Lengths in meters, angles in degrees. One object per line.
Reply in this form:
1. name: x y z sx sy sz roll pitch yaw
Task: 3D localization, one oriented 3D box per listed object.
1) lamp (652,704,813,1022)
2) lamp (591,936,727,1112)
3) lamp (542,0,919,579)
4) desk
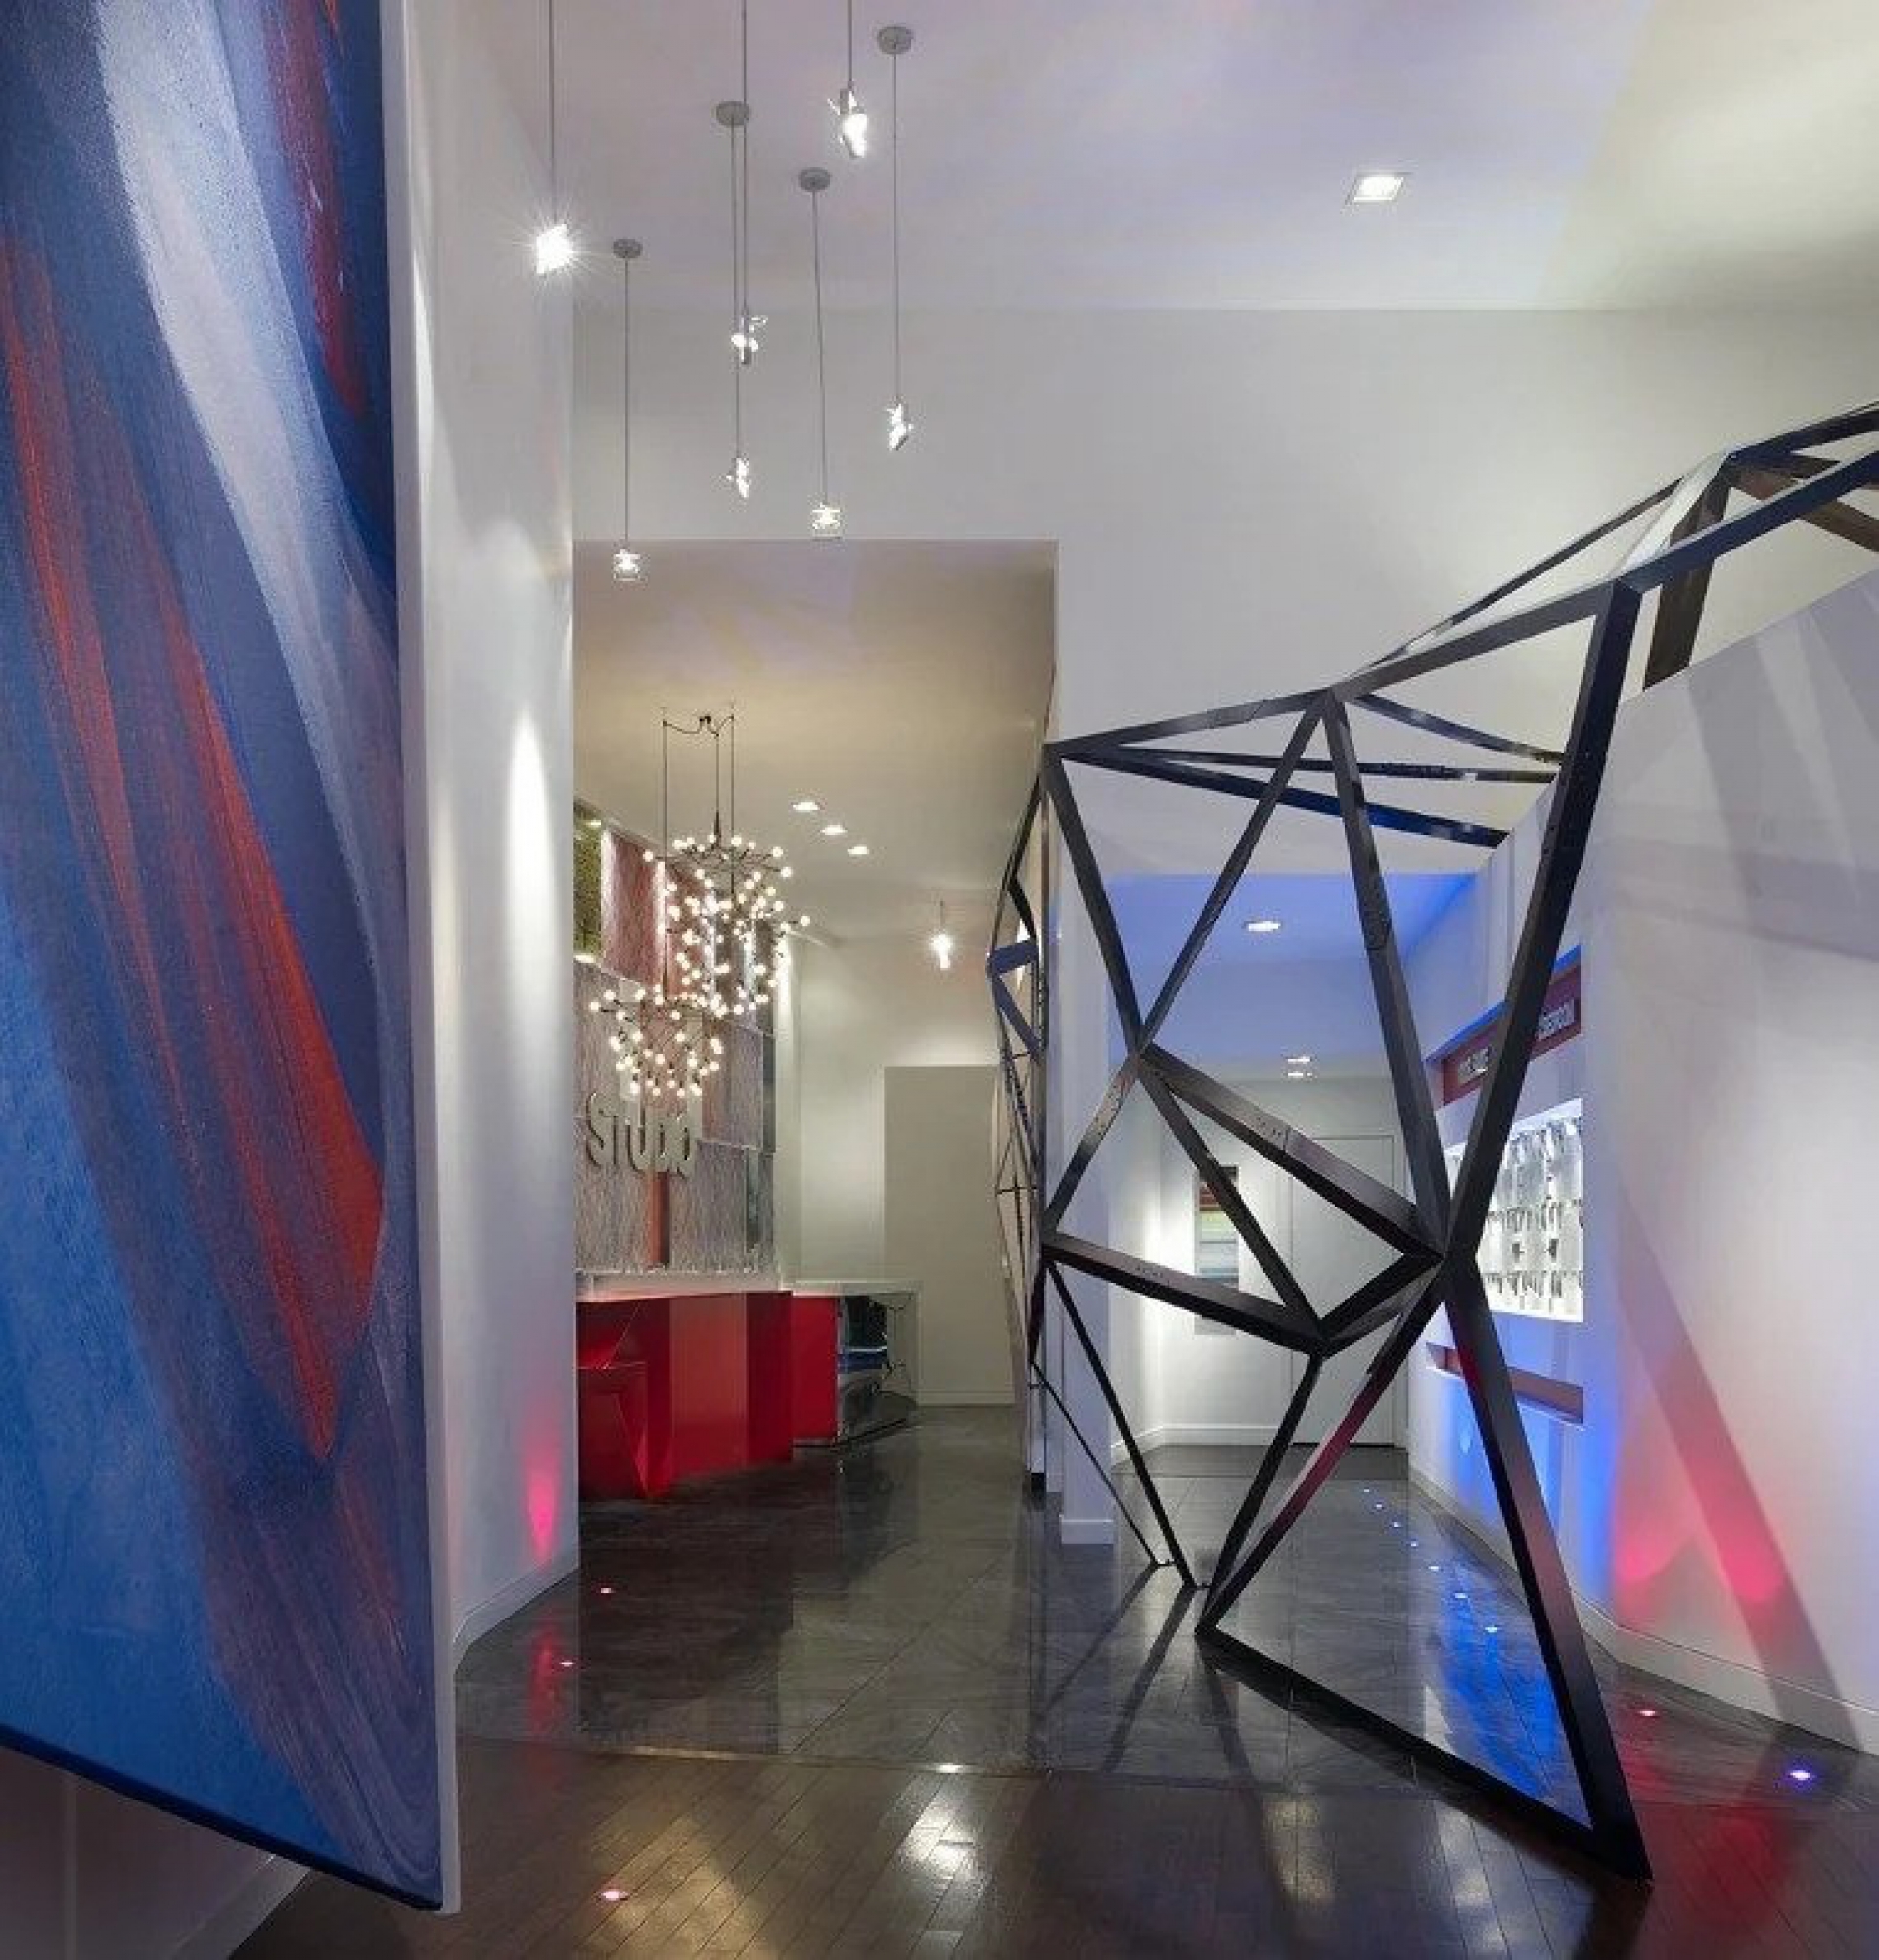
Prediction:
1. lamp: -1.653 -0.895 12.748 0.727 2.394 0.802 -11 -7 18
2. lamp: -1.982 0.455 11.839 0.702 1.113 0.851 11 14 4
3. lamp: -0.857 -2.769 6.740 1.145 3.275 0.328 1 -2 -12
4. desk: -1.546 2.318 9.300 1.780 0.852 0.524 -21 -13 39
